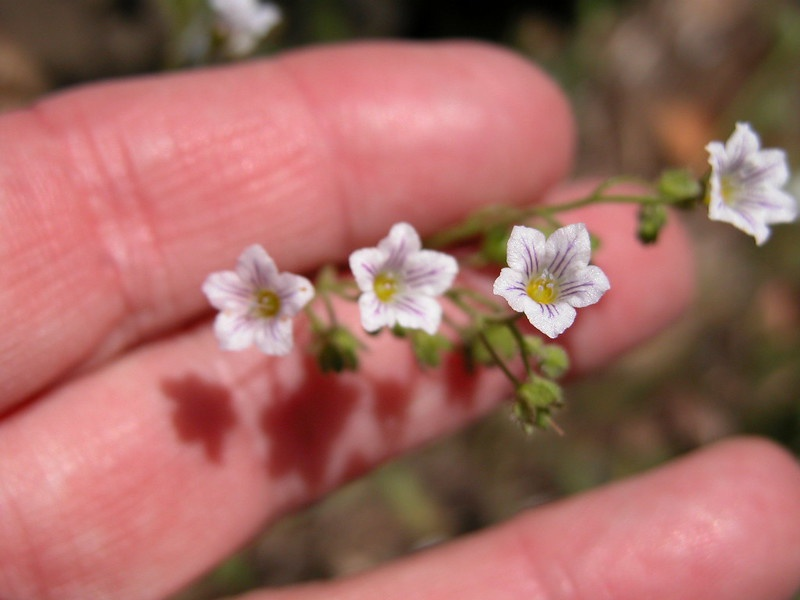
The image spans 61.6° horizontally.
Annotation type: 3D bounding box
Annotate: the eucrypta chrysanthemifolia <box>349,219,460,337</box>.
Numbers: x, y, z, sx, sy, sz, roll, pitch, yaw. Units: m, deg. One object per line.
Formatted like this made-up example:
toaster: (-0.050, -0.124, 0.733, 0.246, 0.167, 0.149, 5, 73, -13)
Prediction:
eucrypta chrysanthemifolia: (0.026, -0.030, 2.735, 0.423, 0.404, 0.375, -11, 55, -7)

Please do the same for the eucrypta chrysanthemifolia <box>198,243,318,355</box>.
eucrypta chrysanthemifolia: (-0.579, -0.017, 2.776, 0.418, 0.535, 0.177, 12, 64, -13)

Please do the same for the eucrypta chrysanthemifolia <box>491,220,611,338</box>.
eucrypta chrysanthemifolia: (0.603, -0.030, 2.699, 0.417, 0.508, 0.233, -2, 37, 32)
